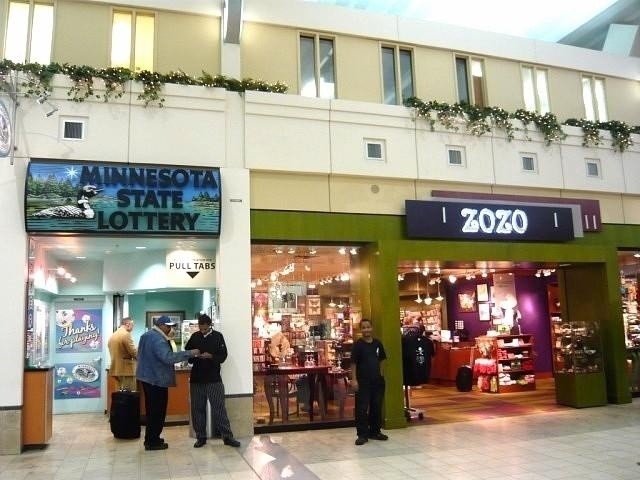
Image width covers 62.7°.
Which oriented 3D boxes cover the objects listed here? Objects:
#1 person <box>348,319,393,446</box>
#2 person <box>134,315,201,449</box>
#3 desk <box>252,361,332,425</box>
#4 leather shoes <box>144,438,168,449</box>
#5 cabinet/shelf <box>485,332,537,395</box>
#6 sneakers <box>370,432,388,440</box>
[{"bbox_3d":[0.739,2.288,8.566,0.682,1.960,0.324,0,-5,-31],"label":"person"},{"bbox_3d":[-2.474,2.228,8.180,0.858,2.015,0.396,-2,-4,-5],"label":"person"},{"bbox_3d":[-0.499,2.688,9.507,1.187,0.821,0.772,0,-8,-3],"label":"desk"},{"bbox_3d":[-2.564,3.124,8.098,0.252,0.085,0.188,1,-1,-20],"label":"leather shoes"},{"bbox_3d":[4.743,3.196,13.544,1.368,1.396,0.727,9,-13,-37],"label":"cabinet/shelf"},{"bbox_3d":[0.951,3.207,8.596,0.300,0.120,0.111,-1,-5,7],"label":"sneakers"}]
